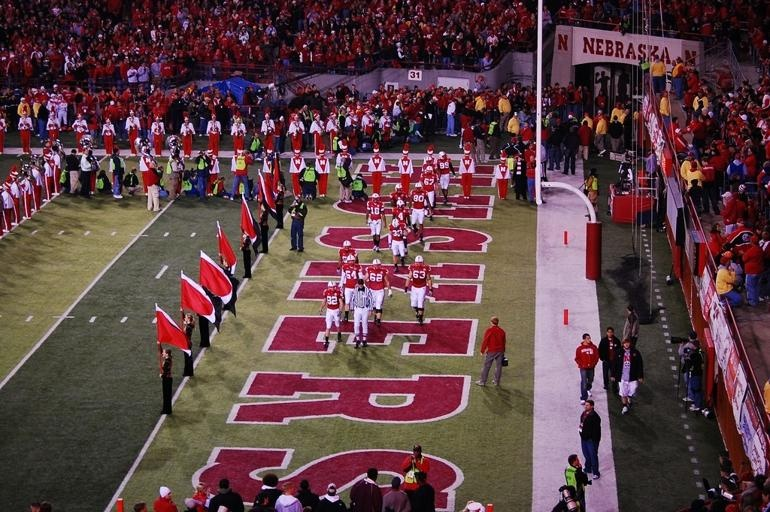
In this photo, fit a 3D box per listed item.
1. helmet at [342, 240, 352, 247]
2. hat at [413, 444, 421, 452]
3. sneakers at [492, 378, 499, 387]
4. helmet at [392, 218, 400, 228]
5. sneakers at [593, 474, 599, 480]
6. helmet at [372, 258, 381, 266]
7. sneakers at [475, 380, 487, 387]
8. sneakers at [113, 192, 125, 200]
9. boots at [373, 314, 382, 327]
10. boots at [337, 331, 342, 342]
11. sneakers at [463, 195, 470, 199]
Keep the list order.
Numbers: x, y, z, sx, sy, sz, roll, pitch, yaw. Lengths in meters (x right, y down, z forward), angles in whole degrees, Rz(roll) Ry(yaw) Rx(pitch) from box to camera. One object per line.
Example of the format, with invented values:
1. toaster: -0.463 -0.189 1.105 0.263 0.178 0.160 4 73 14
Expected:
1. helmet: -1.253 -0.391 28.047 0.248 0.236 0.366 -1 4 1
2. hat: 0.731 4.324 19.093 0.206 0.214 0.361 0 0 5
3. sneakers: 3.257 3.620 24.773 0.159 0.210 0.140 -3 20 -2
4. helmet: 0.422 -1.215 31.178 0.229 0.320 0.315 -7 4 0
5. sneakers: 5.193 5.419 21.052 0.128 0.101 0.249 0 1 14
6. helmet: -0.248 0.211 27.246 0.201 0.277 0.227 2 7 -2
7. sneakers: 2.767 3.650 24.831 0.125 0.136 0.296 -10 20 -30
8. sneakers: -12.277 -2.755 39.514 0.208 0.238 0.516 -4 8 -41
9. boots: -0.201 2.025 28.120 0.246 0.431 0.458 -2 20 0
10. boots: -1.424 2.489 27.261 0.124 0.348 0.351 -4 20 -3
11. sneakers: 3.818 -2.721 39.151 0.122 0.207 0.200 1 3 -14
